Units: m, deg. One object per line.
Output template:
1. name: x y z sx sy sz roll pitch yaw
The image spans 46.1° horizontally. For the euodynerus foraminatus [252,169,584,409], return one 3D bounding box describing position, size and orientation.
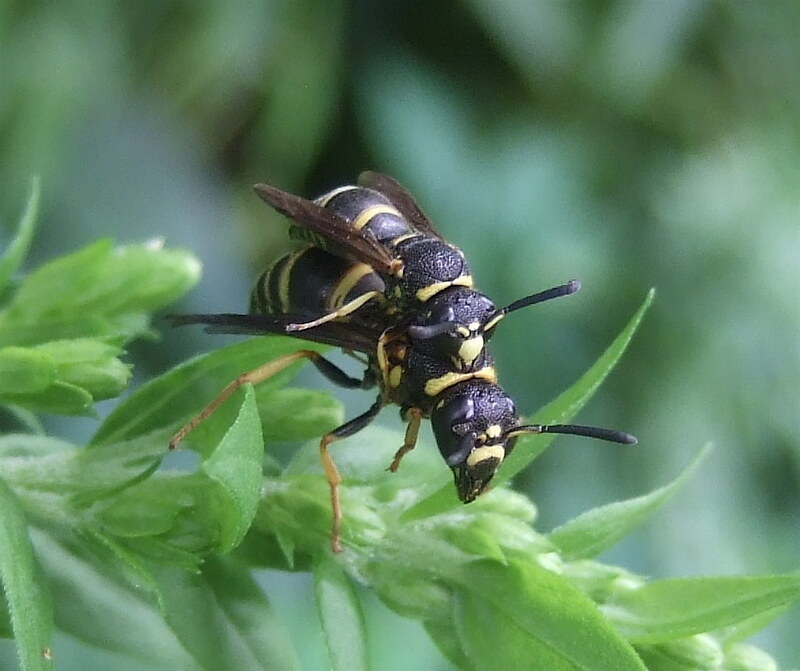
1. euodynerus foraminatus: 0.009 -0.094 1.265 0.366 0.114 0.261 34 -12 23
